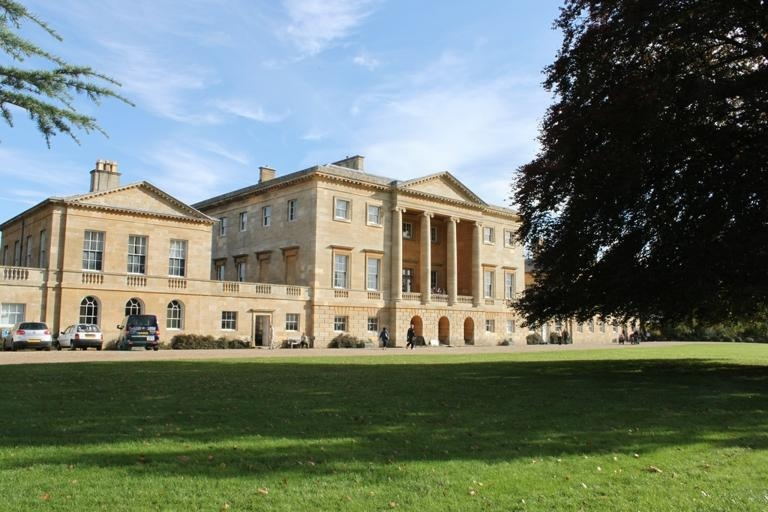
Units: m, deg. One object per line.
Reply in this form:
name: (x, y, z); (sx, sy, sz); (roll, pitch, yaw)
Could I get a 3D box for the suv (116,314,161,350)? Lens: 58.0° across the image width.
suv: (-14.459, 4.409, 40.670); (1.621, 1.342, 2.738); (3, -3, -32)

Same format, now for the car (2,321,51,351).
car: (-19.544, 4.341, 37.876); (1.429, 1.036, 2.371); (4, -5, -37)

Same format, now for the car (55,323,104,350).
car: (-17.202, 4.541, 39.223); (1.462, 1.080, 2.526); (5, -4, -43)

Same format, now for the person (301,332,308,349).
person: (-5.575, 5.972, 48.862); (0.487, 0.928, 1.259); (1, 3, -7)

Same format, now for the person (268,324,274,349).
person: (-7.790, 5.446, 47.876); (0.357, 1.545, 0.660); (1, 3, -11)
